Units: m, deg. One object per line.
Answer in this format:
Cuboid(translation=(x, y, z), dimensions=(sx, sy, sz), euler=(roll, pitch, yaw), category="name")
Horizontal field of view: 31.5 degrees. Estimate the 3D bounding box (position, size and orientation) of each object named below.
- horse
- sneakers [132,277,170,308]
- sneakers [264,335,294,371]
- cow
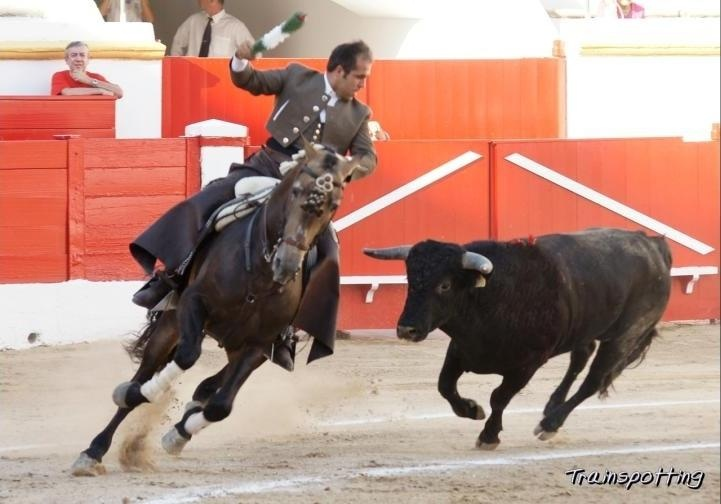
Cuboid(translation=(-1.105, 0.448, 10.797), dimensions=(2.061, 2.868, 0.801), euler=(4, 15, 7), category="horse")
Cuboid(translation=(-1.834, 0.356, 11.314), dimensions=(0.143, 0.169, 0.390), euler=(40, 61, 19), category="sneakers")
Cuboid(translation=(-0.706, 0.892, 11.473), dimensions=(0.286, 0.287, 0.126), euler=(13, -6, -25), category="sneakers")
Cuboid(translation=(1.531, 0.745, 11.809), dimensions=(2.635, 1.811, 0.805), euler=(-7, 17, -30), category="cow")
